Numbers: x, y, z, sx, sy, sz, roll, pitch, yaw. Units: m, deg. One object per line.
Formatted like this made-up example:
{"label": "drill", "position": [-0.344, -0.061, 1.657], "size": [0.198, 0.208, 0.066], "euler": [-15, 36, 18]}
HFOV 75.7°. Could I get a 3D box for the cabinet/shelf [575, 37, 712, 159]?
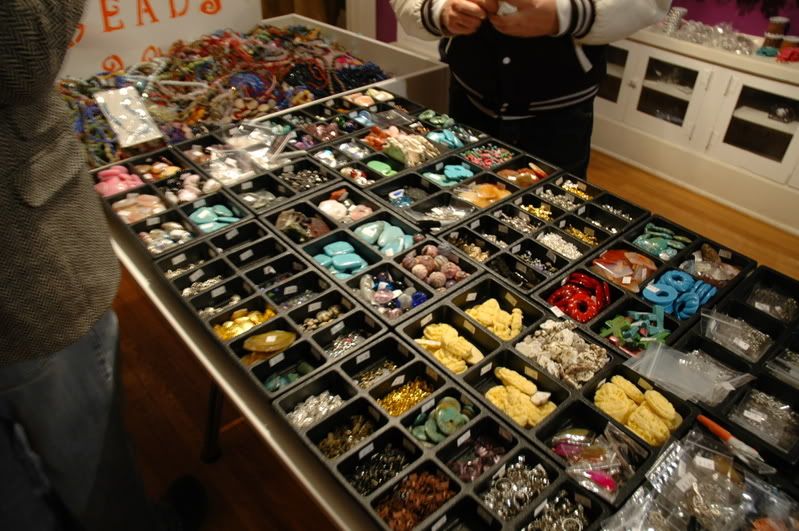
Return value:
{"label": "cabinet/shelf", "position": [1.982, -1.517, 4.568], "size": [1.219, 0.403, 0.811], "euler": [16, 83, -7]}
